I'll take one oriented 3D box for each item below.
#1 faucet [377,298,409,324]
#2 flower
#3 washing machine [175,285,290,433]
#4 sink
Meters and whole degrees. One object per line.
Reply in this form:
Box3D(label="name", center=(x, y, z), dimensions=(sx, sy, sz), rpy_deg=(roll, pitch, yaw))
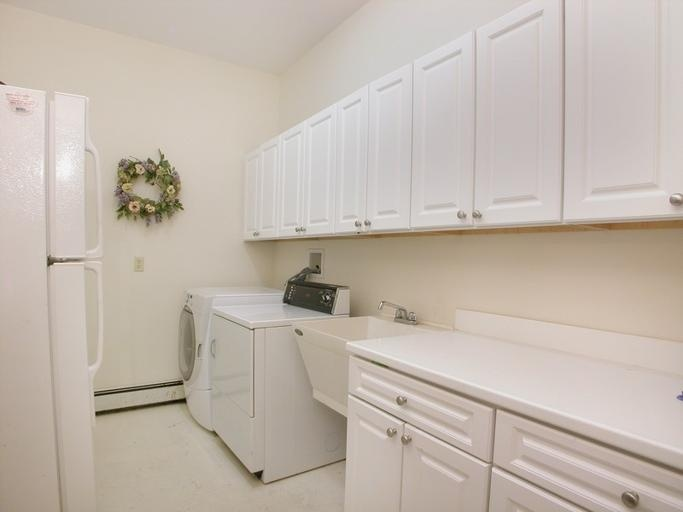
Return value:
Box3D(label="faucet", center=(0.312, 0.342, 2.863), dimensions=(0.287, 0.108, 0.084), rpy_deg=(18, -16, -42))
Box3D(label="flower", center=(-1.577, -0.547, 3.840), dimensions=(0.488, 0.589, 0.185), rpy_deg=(-6, 0, -30))
Box3D(label="washing machine", center=(-0.853, 0.791, 3.867), dimensions=(0.937, 1.249, 0.927), rpy_deg=(6, -5, -19))
Box3D(label="sink", center=(0.158, 0.625, 2.879), dimensions=(0.750, 0.478, 0.581), rpy_deg=(8, -5, -31))
